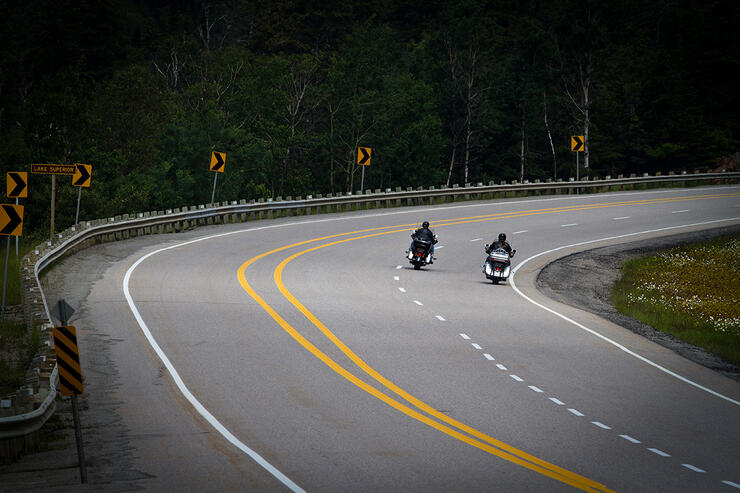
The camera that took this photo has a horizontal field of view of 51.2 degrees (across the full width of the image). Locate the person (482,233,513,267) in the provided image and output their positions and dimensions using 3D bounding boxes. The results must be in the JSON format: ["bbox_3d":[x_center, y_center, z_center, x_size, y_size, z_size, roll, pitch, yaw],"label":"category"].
[{"bbox_3d":[5.786,-0.097,34.320,1.008,1.030,1.673,4,12,8],"label":"person"}]

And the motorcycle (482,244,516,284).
[{"bbox_3d":[5.554,0.710,33.727,1.181,1.831,0.775,2,12,-1],"label":"motorcycle"}]

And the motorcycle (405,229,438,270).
[{"bbox_3d":[2.417,0.088,35.866,0.870,1.314,2.322,7,11,3],"label":"motorcycle"}]
